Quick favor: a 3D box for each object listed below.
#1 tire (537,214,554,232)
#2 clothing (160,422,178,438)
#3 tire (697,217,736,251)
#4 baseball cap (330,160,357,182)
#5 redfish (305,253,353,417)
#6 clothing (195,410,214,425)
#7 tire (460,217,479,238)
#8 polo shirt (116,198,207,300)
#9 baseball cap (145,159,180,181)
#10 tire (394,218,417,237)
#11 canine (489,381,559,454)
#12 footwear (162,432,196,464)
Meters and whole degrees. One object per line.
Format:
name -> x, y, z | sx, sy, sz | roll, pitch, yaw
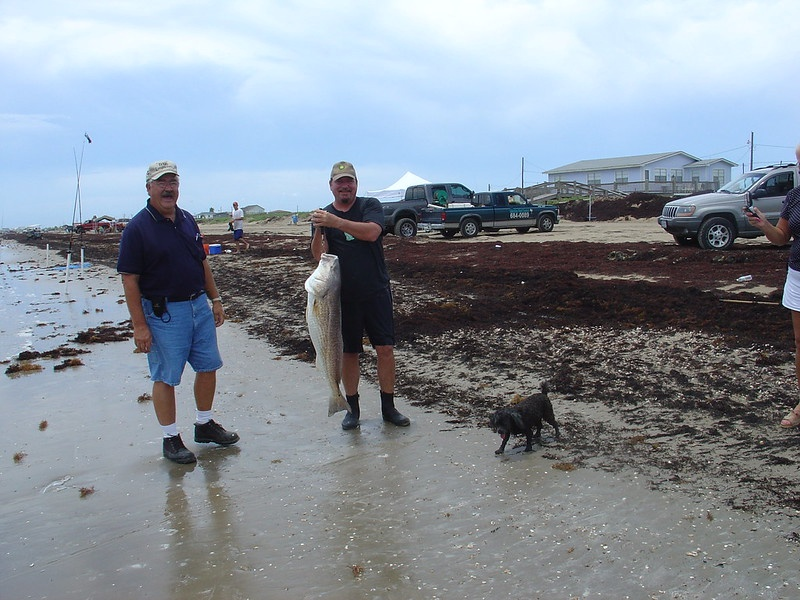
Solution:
tire -> 5.472, -2.924, 25.926 | 0.733, 0.619, 0.240 | 7, -7, -28
clothing -> -2.068, 1.158, 6.169 | 0.156, 0.109, 0.134 | -7, 16, -23
tire -> 7.306, -1.538, 15.938 | 0.766, 0.657, 0.248 | -18, 7, -10
baseball cap -> -0.503, -1.131, 6.078 | 0.209, 0.152, 0.220 | -3, 6, -6
redfish -> -0.705, 0.322, 6.431 | 0.510, 1.441, 0.352 | -3, 4, -14
clothing -> -1.812, 1.091, 6.412 | 0.165, 0.104, 0.144 | 0, -3, -9
tire -> 2.498, -2.562, 24.654 | 0.428, 0.671, 0.787 | 1, 7, 32
polo shirt -> -2.009, -0.382, 5.851 | 0.456, 0.679, 0.848 | 9, 14, 30
baseball cap -> -1.999, -1.065, 5.730 | 0.238, 0.164, 0.298 | -4, 6, -12
tire -> 0.175, -2.741, 25.836 | 0.759, 0.637, 0.253 | -7, 14, -26
canine -> 1.124, 1.066, 6.154 | 0.293, 0.442, 0.985 | 3, 11, 42
footwear -> -2.045, 1.340, 6.193 | 0.427, 0.169, 0.152 | 4, 8, 40
